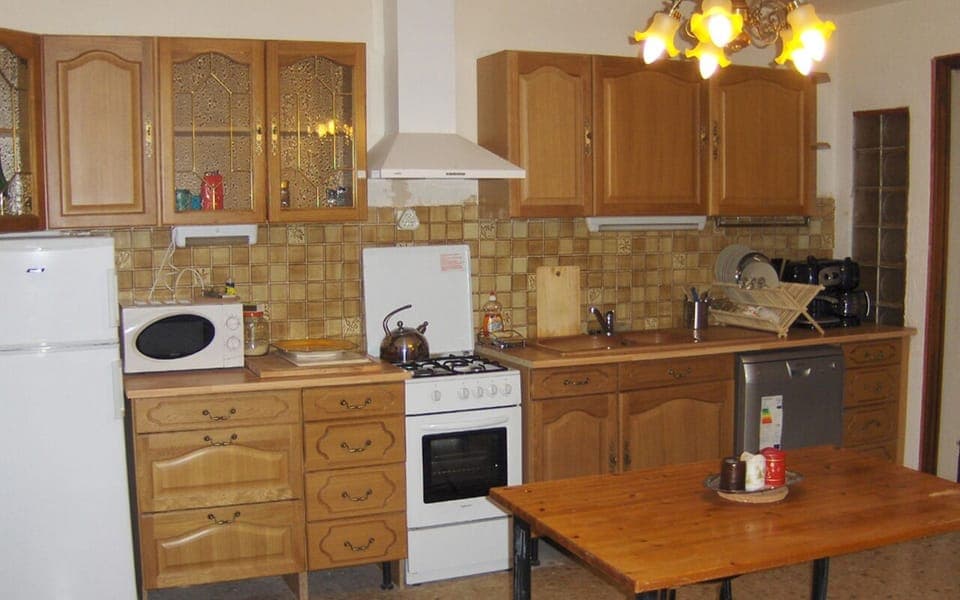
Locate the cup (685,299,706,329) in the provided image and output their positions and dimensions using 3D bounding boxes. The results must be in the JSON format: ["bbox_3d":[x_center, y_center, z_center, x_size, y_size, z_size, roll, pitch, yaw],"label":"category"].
[{"bbox_3d":[1.584,0.101,5.695,0.203,0.197,0.190,-1,5,0],"label":"cup"}]

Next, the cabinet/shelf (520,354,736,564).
[{"bbox_3d":[0.954,0.818,5.227,1.453,1.100,0.463,-6,16,-4],"label":"cabinet/shelf"}]

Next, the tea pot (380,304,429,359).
[{"bbox_3d":[-0.484,0.209,4.979,0.319,0.347,0.326,-3,6,0],"label":"tea pot"}]

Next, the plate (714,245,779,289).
[{"bbox_3d":[1.953,-0.256,5.682,0.289,0.287,0.401,-5,6,-15],"label":"plate"}]

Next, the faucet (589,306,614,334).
[{"bbox_3d":[0.868,0.139,5.455,0.173,0.215,0.388,-2,6,8],"label":"faucet"}]

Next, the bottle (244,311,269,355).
[{"bbox_3d":[-1.355,0.200,4.761,0.071,0.272,0.207,1,8,37],"label":"bottle"}]

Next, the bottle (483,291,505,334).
[{"bbox_3d":[0.095,0.098,5.302,0.150,0.268,0.192,-3,6,2],"label":"bottle"}]

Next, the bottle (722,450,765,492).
[{"bbox_3d":[1.178,0.747,3.495,0.206,0.177,0.152,2,11,27],"label":"bottle"}]

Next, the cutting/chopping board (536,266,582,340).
[{"bbox_3d":[0.547,0.020,5.471,0.342,0.495,0.031,-4,6,-25],"label":"cutting/chopping board"}]

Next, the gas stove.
[{"bbox_3d":[-0.215,0.513,4.898,0.804,0.219,0.730,-4,10,-32],"label":"gas stove"}]

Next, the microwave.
[{"bbox_3d":[-1.883,0.204,4.585,0.552,0.365,0.753,2,2,35],"label":"microwave"}]

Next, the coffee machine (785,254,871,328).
[{"bbox_3d":[2.528,-0.045,5.790,0.688,0.460,0.371,-1,-3,-12],"label":"coffee machine"}]

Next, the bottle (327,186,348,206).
[{"bbox_3d":[-0.865,-0.635,4.777,0.139,0.114,0.114,2,10,-6],"label":"bottle"}]
